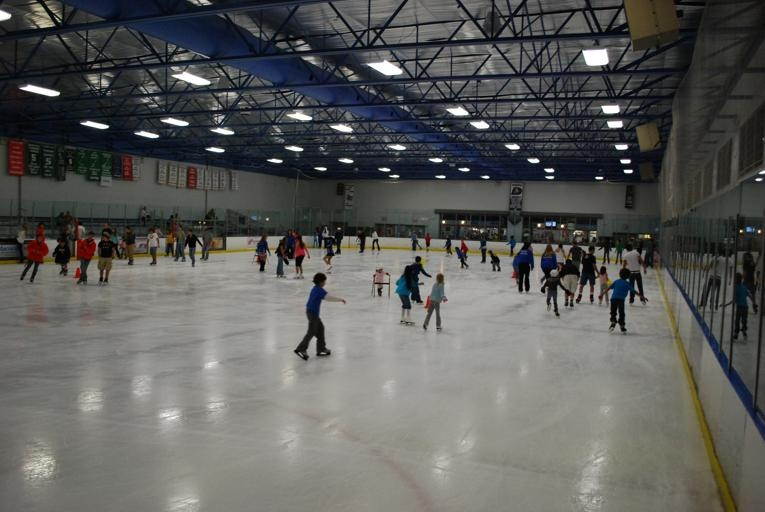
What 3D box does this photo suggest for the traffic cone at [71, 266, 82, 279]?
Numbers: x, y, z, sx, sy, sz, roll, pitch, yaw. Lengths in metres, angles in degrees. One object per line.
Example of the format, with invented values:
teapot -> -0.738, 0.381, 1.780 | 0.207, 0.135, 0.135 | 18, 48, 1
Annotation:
traffic cone -> -13.478, 0.731, 24.351 | 0.457, 0.531, 0.482 | 3, -6, 7

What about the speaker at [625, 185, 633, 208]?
speaker -> 22.510, -5.431, 50.424 | 0.787, 2.117, 0.435 | 4, 8, 22

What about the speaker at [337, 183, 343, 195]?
speaker -> -4.469, -7.337, 59.844 | 1.002, 1.219, 0.602 | -4, 9, -34

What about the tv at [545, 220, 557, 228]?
tv -> 16.131, -3.094, 53.163 | 1.096, 0.600, 0.730 | -2, 14, 25
